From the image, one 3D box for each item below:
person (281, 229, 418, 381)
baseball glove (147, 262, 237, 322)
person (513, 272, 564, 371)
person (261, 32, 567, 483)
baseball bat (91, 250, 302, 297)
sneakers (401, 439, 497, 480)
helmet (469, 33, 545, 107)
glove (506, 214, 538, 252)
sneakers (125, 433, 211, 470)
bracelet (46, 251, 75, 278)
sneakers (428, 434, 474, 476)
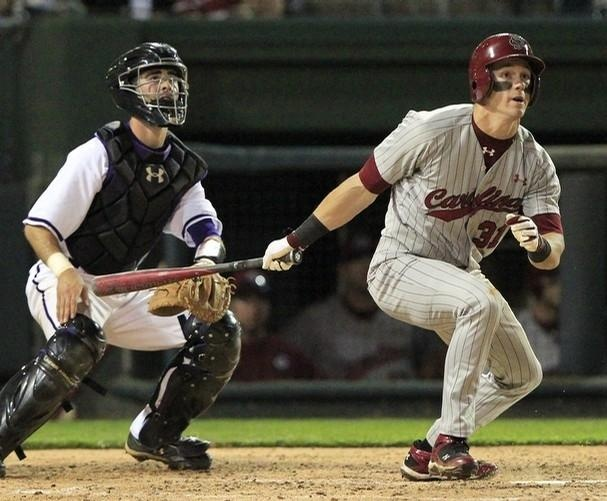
[{"bbox_3d":[0.354,0.401,8.060,1.299,0.425,1.475,-3,43,-2],"label":"person"},{"bbox_3d":[-0.538,0.205,5.591,0.440,0.192,0.251,2,25,2],"label":"baseball glove"},{"bbox_3d":[1.981,0.607,9.686,0.575,0.723,0.182,4,-24,-10],"label":"person"},{"bbox_3d":[0.659,0.028,5.518,1.091,1.804,0.452,7,2,20],"label":"person"},{"bbox_3d":[-0.627,0.116,6.372,1.135,0.153,0.173,-8,25,-11],"label":"baseball bat"},{"bbox_3d":[0.684,0.991,5.459,0.467,0.185,0.177,-5,-8,28],"label":"sneakers"},{"bbox_3d":[0.942,-0.854,5.488,0.306,0.290,0.375,5,-13,-21],"label":"helmet"},{"bbox_3d":[1.042,-0.102,5.304,0.069,0.172,0.131,-47,5,-31],"label":"glove"},{"bbox_3d":[-0.682,1.001,5.720,0.379,0.143,0.183,4,6,-2],"label":"sneakers"},{"bbox_3d":[-1.163,0.068,5.457,0.085,0.052,0.142,-36,59,-20],"label":"bracelet"},{"bbox_3d":[0.701,0.955,5.319,0.220,0.172,0.116,6,2,8],"label":"sneakers"}]
